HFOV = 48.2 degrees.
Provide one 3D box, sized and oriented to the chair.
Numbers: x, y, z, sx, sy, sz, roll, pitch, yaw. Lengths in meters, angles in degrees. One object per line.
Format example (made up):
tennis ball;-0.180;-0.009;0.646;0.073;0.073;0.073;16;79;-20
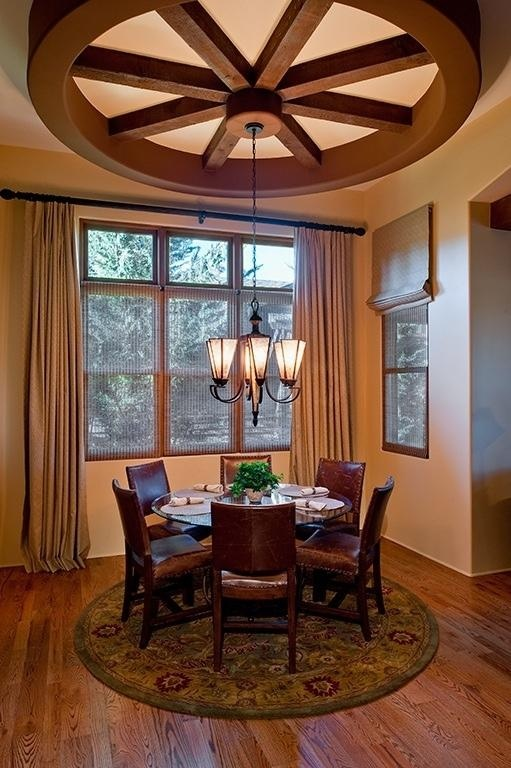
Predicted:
chair;0.039;0.980;3.120;1.353;0.865;0.856;-1;1;-34
